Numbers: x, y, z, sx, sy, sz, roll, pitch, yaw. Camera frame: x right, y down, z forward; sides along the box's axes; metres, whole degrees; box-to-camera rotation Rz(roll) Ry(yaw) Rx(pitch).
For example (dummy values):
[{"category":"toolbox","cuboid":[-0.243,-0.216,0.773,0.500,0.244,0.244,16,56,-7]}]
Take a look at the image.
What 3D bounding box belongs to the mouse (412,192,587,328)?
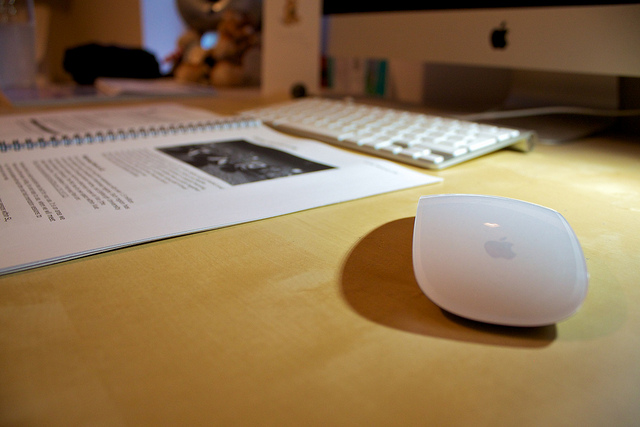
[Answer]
[{"category":"mouse","cuboid":[0.141,0.031,0.351,0.129,0.060,0.129,8,18,12]}]
